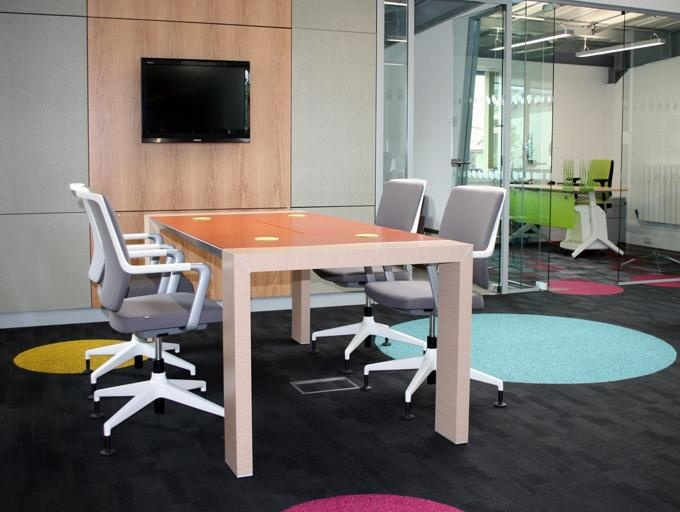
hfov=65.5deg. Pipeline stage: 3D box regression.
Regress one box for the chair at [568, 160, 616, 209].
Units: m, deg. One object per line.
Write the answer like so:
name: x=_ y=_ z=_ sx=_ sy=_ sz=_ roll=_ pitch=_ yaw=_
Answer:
chair: x=4.683 y=-1.116 z=9.709 sx=0.754 sy=1.031 sz=0.882 roll=-5 pitch=-9 yaw=21

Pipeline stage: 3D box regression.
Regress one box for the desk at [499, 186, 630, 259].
desk: x=4.682 y=-0.680 z=9.993 sx=1.161 sy=1.024 sz=2.174 roll=-2 pitch=5 yaw=17

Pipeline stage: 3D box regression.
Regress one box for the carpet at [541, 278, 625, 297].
carpet: x=3.203 y=0.405 z=6.862 sx=0.874 sy=0.018 sz=1.047 roll=3 pitch=9 yaw=20

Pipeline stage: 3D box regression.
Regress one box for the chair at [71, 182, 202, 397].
chair: x=-1.112 y=0.299 z=3.238 sx=0.939 sy=1.247 sz=0.816 roll=0 pitch=4 yaw=-28

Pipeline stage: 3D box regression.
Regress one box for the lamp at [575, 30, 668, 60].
lamp: x=4.531 y=-3.422 z=8.517 sx=0.246 sy=0.167 sz=1.711 roll=-8 pitch=14 yaw=-23

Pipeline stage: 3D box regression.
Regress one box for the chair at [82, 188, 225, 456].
chair: x=-1.073 y=0.322 z=3.106 sx=0.845 sy=1.295 sz=0.880 roll=-3 pitch=5 yaw=-45

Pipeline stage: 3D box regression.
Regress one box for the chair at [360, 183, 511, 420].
chair: x=0.608 y=0.249 z=3.506 sx=0.985 sy=1.331 sz=0.952 roll=-2 pitch=7 yaw=7

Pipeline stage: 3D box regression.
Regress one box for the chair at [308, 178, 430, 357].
chair: x=0.239 y=0.081 z=4.342 sx=0.861 sy=1.330 sz=0.831 roll=-5 pitch=8 yaw=-21

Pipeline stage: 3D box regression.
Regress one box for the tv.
tv: x=-1.407 y=-1.537 z=5.271 sx=1.122 sy=0.785 sz=0.094 roll=1 pitch=4 yaw=2
